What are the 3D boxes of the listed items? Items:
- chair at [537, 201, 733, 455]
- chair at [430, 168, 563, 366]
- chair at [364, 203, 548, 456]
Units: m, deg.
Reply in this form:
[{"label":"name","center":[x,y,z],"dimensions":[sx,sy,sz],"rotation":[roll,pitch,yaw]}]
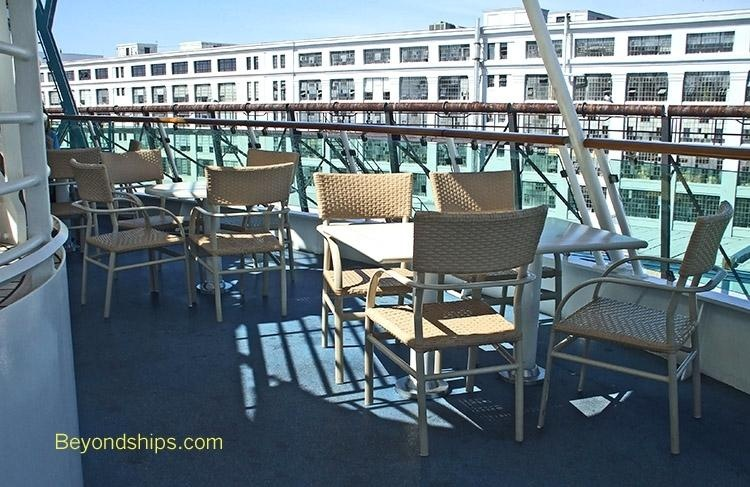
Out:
[{"label":"chair","center":[1.336,0.440,2.758],"dimensions":[0.741,0.968,0.652],"rotation":[-7,9,-34]},{"label":"chair","center":[0.800,0.004,3.512],"dimensions":[0.678,0.984,0.708],"rotation":[-6,9,-32]},{"label":"chair","center":[0.366,0.366,2.769],"dimensions":[0.753,1.224,0.659],"rotation":[-9,16,-19]}]
